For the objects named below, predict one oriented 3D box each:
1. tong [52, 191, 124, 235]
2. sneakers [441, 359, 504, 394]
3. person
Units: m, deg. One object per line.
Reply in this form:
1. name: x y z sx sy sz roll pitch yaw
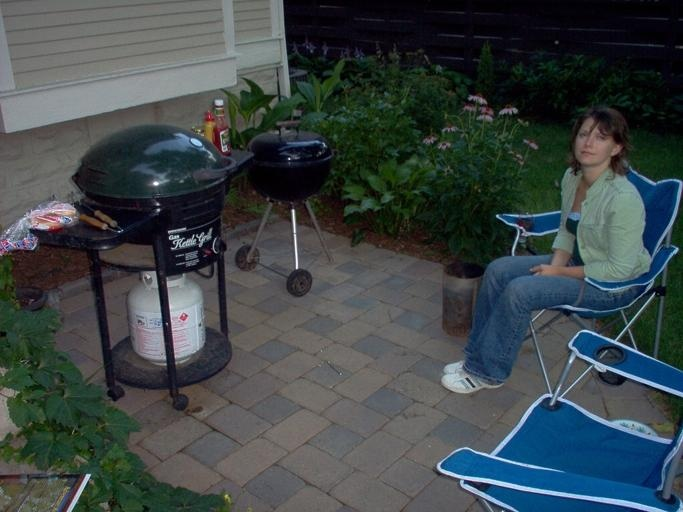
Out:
1. tong: -1.269 -0.215 2.649 0.466 0.044 0.119 22 40 34
2. sneakers: 0.813 0.743 3.202 0.425 0.102 0.196 4 21 11
3. person: 1.255 -0.022 3.141 1.257 1.601 0.705 -1 19 -6
